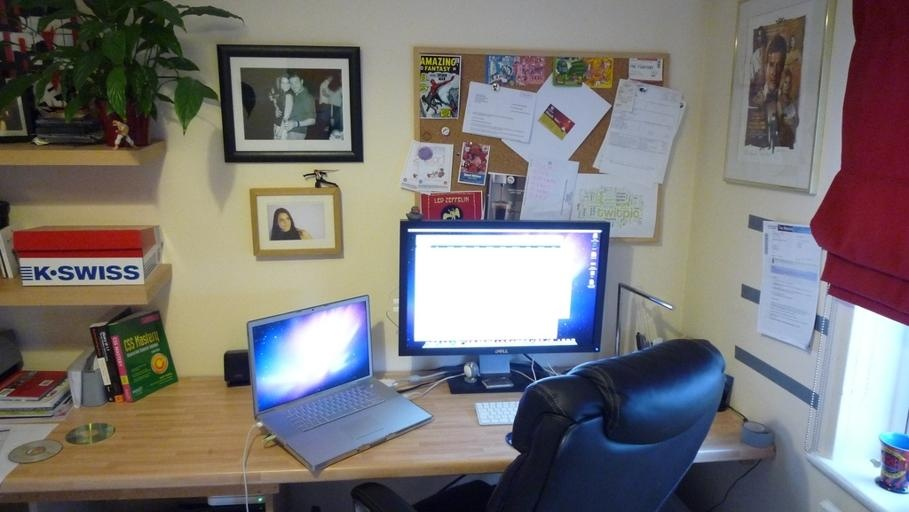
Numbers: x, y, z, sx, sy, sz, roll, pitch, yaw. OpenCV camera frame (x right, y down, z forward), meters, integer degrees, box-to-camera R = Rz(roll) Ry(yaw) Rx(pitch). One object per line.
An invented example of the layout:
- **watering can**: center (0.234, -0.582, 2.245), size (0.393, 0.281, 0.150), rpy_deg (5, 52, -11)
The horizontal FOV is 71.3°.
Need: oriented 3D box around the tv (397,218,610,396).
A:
- **tv**: center (0.227, 0.219, 3.121), size (0.974, 0.693, 0.230), rpy_deg (1, 14, -5)
